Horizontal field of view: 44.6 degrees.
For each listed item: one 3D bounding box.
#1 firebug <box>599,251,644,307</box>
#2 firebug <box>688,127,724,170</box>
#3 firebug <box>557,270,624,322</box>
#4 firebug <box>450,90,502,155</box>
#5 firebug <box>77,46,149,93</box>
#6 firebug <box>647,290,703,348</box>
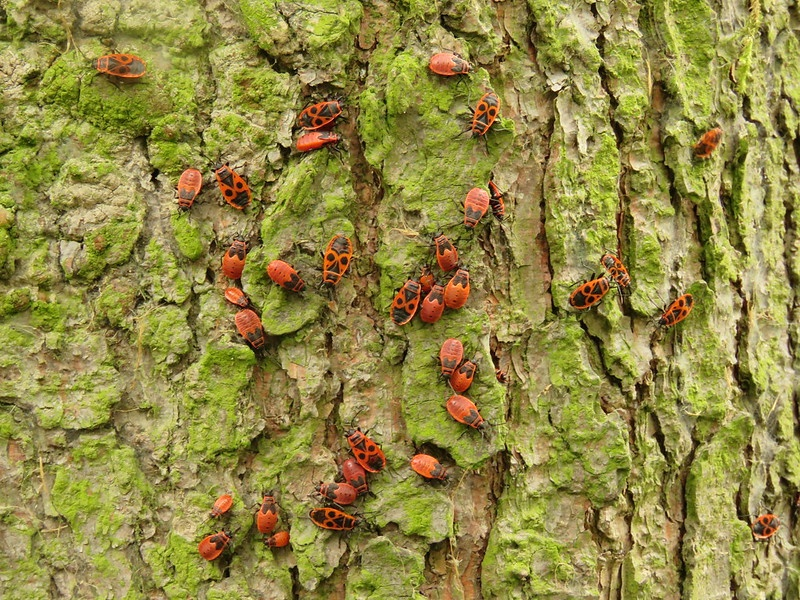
[{"bbox_3d":[1.454,-0.144,6.403,0.214,0.081,0.306,-45,116,-33],"label":"firebug"},{"bbox_3d":[2.057,-1.022,6.594,0.171,0.087,0.259,38,88,-7],"label":"firebug"},{"bbox_3d":[1.217,-0.017,6.258,0.294,0.087,0.251,-27,102,13],"label":"firebug"},{"bbox_3d":[0.516,-1.174,6.297,0.222,0.134,0.385,22,76,-1],"label":"firebug"},{"bbox_3d":[-1.850,-1.508,6.326,0.276,0.089,0.273,5,83,10],"label":"firebug"},{"bbox_3d":[1.809,0.096,6.485,0.404,0.091,0.198,-32,83,-12],"label":"firebug"}]
